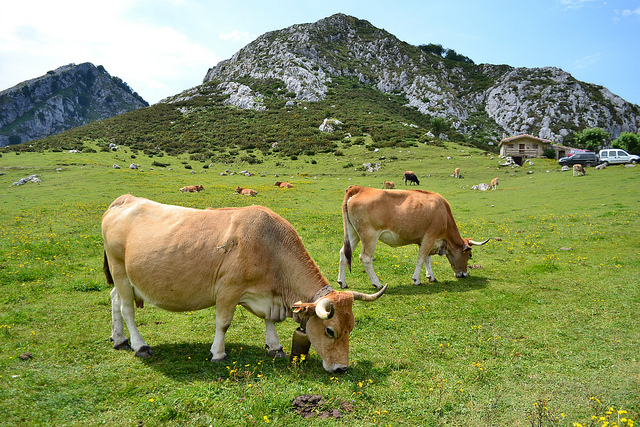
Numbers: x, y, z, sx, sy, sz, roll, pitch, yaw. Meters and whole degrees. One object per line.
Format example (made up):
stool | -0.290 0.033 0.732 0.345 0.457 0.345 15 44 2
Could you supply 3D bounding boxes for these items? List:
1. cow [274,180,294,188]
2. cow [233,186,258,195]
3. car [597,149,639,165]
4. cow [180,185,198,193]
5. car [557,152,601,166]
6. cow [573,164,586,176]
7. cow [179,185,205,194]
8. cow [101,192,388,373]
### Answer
cow | -3.512 -2.866 42.641 1.965 0.993 0.597 10 7 12
cow | -6.241 -1.874 36.525 2.099 1.068 0.769 8 5 16
car | 32.425 -6.228 47.167 1.484 1.533 4.236 -5 9 -16
cow | -11.000 -2.089 36.172 1.255 0.603 0.593 -3 15 -16
car | 29.899 -6.242 49.236 4.300 1.469 1.771 -2 9 -2
cow | 23.708 -3.991 39.405 0.905 0.943 1.193 4 10 31
cow | -10.729 -2.057 36.229 2.087 0.841 0.676 -1 10 -24
cow | -2.117 1.812 14.518 10.090 5.547 3.609 3 2 11
